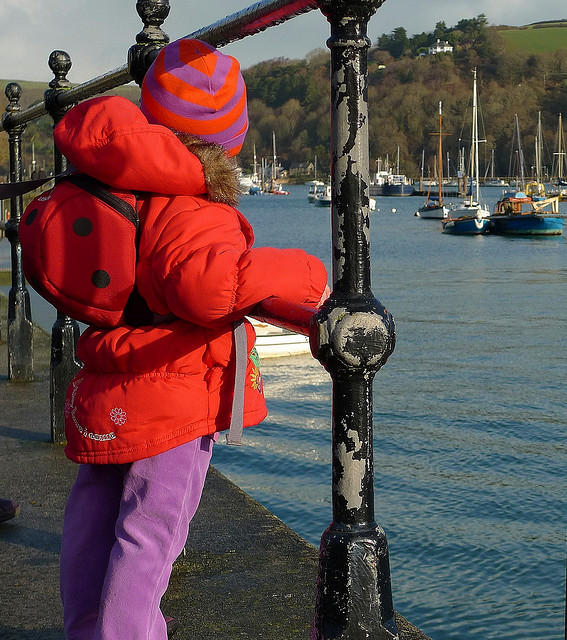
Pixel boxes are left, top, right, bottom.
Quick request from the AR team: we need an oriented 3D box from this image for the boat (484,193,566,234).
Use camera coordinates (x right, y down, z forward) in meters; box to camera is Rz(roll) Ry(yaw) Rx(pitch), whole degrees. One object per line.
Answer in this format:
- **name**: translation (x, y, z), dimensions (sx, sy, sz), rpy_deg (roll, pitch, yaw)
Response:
- **boat**: translation (7.826, -3.379, 53.880), dimensions (1.498, 1.346, 3.098), rpy_deg (-2, -2, -9)

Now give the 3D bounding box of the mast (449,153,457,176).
- **mast**: translation (16.007, -14.715, 154.712), dimensions (0.201, 2.263, 0.204), rpy_deg (-24, -1, -41)

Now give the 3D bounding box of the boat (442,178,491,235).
- **boat**: translation (6.678, -3.646, 57.872), dimensions (1.028, 1.618, 3.798), rpy_deg (-1, 4, -1)

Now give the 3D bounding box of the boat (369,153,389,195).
- **boat**: translation (7.744, -11.386, 130.316), dimensions (1.039, 2.737, 3.637), rpy_deg (-7, -5, 26)

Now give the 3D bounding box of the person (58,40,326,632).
- **person**: translation (-0.336, 0.068, 5.168), dimensions (0.835, 1.906, 0.625), rpy_deg (4, 6, 2)

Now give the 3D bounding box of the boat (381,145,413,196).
- **boat**: translation (9.455, -10.981, 128.983), dimensions (1.966, 4.847, 6.491), rpy_deg (0, 3, -7)
